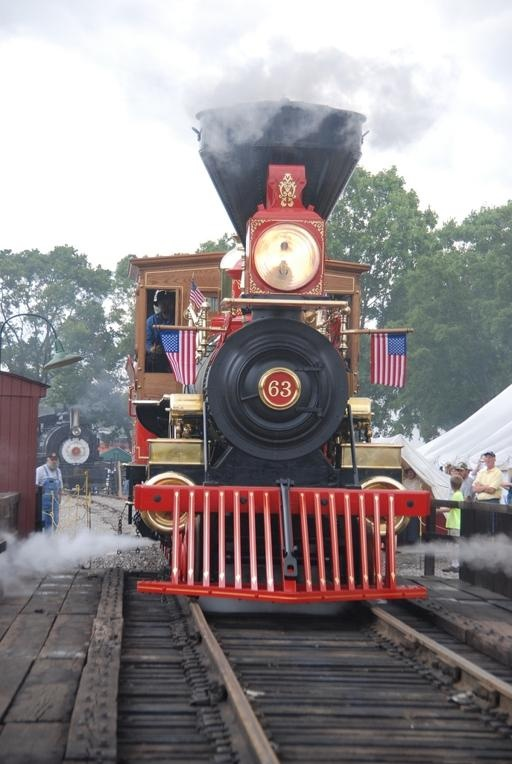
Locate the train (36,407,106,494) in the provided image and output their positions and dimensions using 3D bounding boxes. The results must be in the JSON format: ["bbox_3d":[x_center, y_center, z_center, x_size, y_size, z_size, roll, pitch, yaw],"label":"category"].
[{"bbox_3d":[-8.637,3.286,39.098,3.215,3.986,8.558,0,-6,-12],"label":"train"}]
